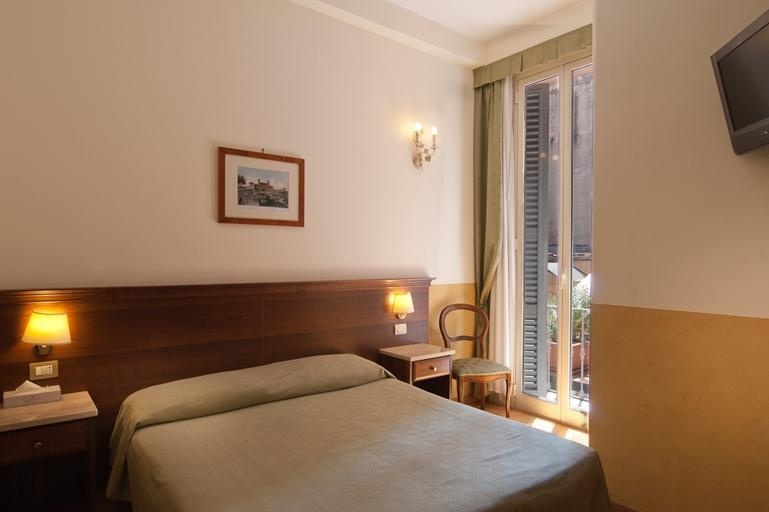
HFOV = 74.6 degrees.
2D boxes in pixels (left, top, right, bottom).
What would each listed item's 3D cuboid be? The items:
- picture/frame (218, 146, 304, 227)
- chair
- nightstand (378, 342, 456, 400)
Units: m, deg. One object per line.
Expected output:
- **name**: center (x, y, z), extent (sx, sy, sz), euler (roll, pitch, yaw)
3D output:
- **picture/frame**: center (-1.034, -0.574, 4.274), extent (0.737, 0.635, 0.041), euler (-2, 0, -30)
- **chair**: center (0.900, 1.032, 5.154), extent (0.671, 1.215, 0.690), euler (-1, 2, -29)
- **nightstand**: center (0.345, 1.077, 4.771), extent (0.591, 0.539, 0.564), euler (1, 6, -42)
